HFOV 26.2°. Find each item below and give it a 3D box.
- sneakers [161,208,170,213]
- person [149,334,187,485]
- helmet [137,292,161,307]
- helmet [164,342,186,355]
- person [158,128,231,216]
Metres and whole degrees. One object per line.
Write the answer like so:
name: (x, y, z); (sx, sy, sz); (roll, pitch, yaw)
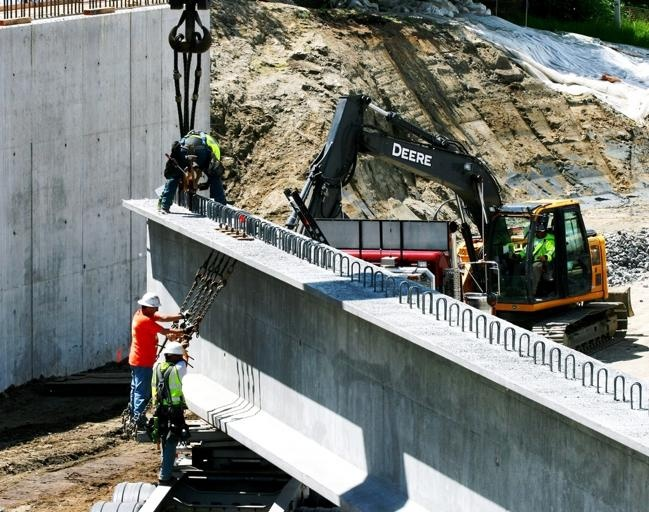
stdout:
sneakers: (-2.548, -0.735, 22.269); (0.158, 0.094, 0.140); (-4, 6, -24)
person: (-2.236, 2.282, 20.013); (0.521, 2.125, 0.780); (-2, 5, -6)
helmet: (-2.601, 0.657, 20.638); (0.257, 0.140, 0.241); (2, 10, -30)
helmet: (-2.153, 1.310, 19.887); (0.277, 0.172, 0.262); (-2, 6, -2)
person: (-2.048, -1.299, 22.446); (1.093, 0.821, 1.801); (5, 34, 5)
